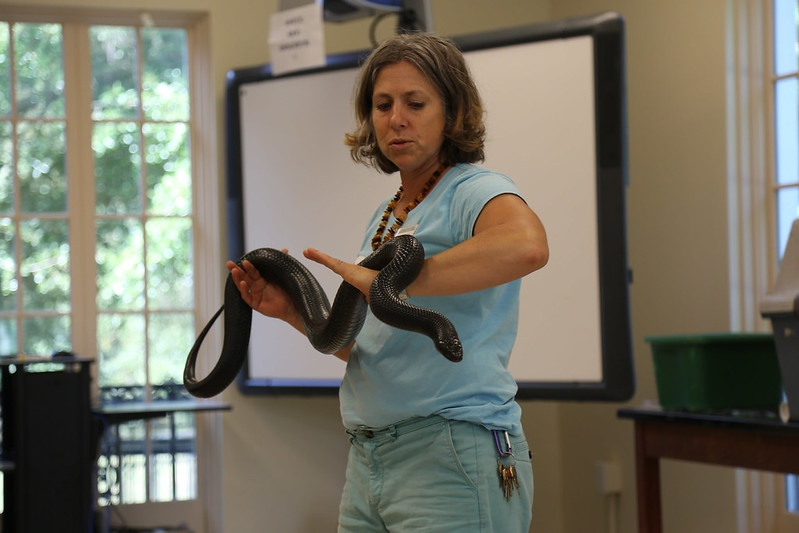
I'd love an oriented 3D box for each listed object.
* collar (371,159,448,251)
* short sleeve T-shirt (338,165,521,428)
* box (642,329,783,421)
[{"bbox_3d":[0.026,-0.219,2.877,0.064,0.313,0.215,37,13,-18],"label":"collar"},{"bbox_3d":[0.137,0.166,2.853,0.554,0.965,0.484,5,5,9],"label":"short sleeve T-shirt"},{"bbox_3d":[1.281,0.429,3.372,0.427,0.323,0.444,1,-6,-21],"label":"box"}]
